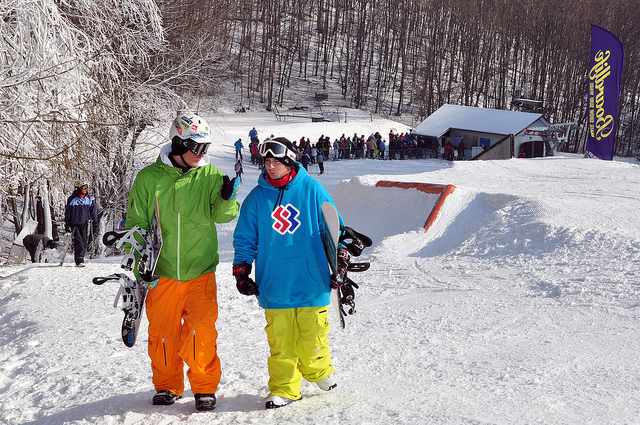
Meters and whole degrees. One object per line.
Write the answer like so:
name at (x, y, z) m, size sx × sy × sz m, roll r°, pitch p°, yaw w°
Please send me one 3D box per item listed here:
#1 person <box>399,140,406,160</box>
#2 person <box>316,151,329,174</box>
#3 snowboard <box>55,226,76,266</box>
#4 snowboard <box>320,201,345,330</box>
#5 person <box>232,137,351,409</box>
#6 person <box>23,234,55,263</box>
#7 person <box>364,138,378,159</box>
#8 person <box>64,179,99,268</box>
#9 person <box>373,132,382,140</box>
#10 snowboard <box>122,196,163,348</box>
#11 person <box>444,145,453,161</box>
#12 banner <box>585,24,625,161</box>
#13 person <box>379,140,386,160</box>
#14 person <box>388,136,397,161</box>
person at (4.823, -3.779, 32.939) m, size 0.296 × 1.118 × 0.620 m, roll -1°, pitch 12°, yaw 8°
person at (0.072, -2.637, 29.023) m, size 0.420 × 1.380 × 1.241 m, roll -4°, pitch 10°, yaw 7°
snowboard at (-7.198, 0.982, 15.678) m, size 0.136 × 1.298 × 0.141 m, roll 8°, pitch 34°, yaw -32°
snowboard at (0.152, 0.563, 6.357) m, size 0.223 × 1.577 × 0.120 m, roll -6°, pitch 7°, yaw 4°
person at (-0.369, 0.651, 6.284) m, size 1.165 × 2.959 × 0.823 m, roll -6°, pitch 12°, yaw -17°
person at (-7.497, 0.888, 14.791) m, size 0.656 × 0.730 × 1.219 m, roll -9°, pitch 13°, yaw -28°
person at (2.963, -3.702, 32.009) m, size 0.493 × 1.145 × 0.488 m, roll -5°, pitch 12°, yaw -11°
person at (-5.413, 0.206, 12.585) m, size 0.672 × 1.968 × 0.675 m, roll -8°, pitch 13°, yaw -24°
person at (3.490, -4.717, 33.810) m, size 0.495 × 0.292 × 0.709 m, roll -6°, pitch 11°, yaw -8°
snowboard at (-1.961, 0.759, 6.187) m, size 0.373 × 1.877 × 0.132 m, roll 10°, pitch 4°, yaw 39°
person at (7.775, -3.669, 33.589) m, size 0.415 × 0.906 × 0.382 m, roll -1°, pitch 12°, yaw 9°
banner at (13.244, -5.637, 26.063) m, size 0.723 × 6.384 × 1.629 m, roll -9°, pitch 13°, yaw -31°
person at (3.552, -3.602, 32.188) m, size 0.268 × 0.990 × 0.686 m, roll -2°, pitch 12°, yaw 3°
person at (4.260, -3.783, 32.623) m, size 0.453 × 1.180 × 0.908 m, roll -1°, pitch 12°, yaw 7°
